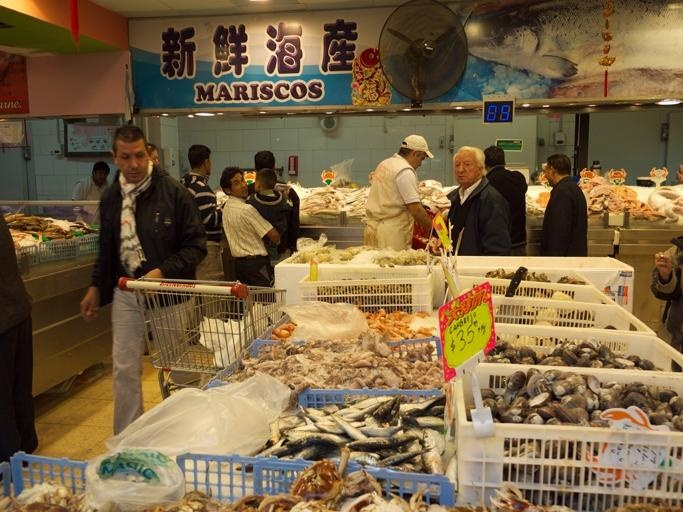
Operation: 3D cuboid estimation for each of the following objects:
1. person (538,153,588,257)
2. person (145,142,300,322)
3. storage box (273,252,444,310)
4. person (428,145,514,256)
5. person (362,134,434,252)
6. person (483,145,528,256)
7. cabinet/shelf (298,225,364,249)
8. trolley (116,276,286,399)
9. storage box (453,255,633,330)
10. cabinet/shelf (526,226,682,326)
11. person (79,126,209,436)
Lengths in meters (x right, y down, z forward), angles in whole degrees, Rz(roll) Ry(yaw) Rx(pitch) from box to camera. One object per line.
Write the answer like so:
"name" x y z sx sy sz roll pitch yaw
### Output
"person" 2.146 -0.456 5.061 0.423 1.064 0.424 4 10 12
"person" -1.062 -0.280 5.806 1.156 1.953 1.051 9 12 21
"storage box" 0.127 0.077 3.906 1.295 0.377 0.843 -1 8 1
"person" 1.138 -0.464 4.348 0.634 0.901 0.461 6 9 32
"person" 0.551 -0.565 5.050 0.571 1.204 0.524 -2 11 -2
"person" 1.669 -0.633 5.235 0.438 1.188 0.467 7 12 18
"cabinet/shelf" -0.123 -0.241 5.903 0.748 0.271 0.100 2 7 9
"trolley" -0.793 0.370 3.041 0.678 1.020 0.852 1 7 11
"storage box" 1.264 0.318 3.050 0.704 0.233 0.761 1 10 9
"cabinet/shelf" 3.254 0.077 6.221 1.862 1.037 0.699 3 11 16
"person" -1.242 0.080 3.543 0.723 2.167 0.675 0 13 -6
